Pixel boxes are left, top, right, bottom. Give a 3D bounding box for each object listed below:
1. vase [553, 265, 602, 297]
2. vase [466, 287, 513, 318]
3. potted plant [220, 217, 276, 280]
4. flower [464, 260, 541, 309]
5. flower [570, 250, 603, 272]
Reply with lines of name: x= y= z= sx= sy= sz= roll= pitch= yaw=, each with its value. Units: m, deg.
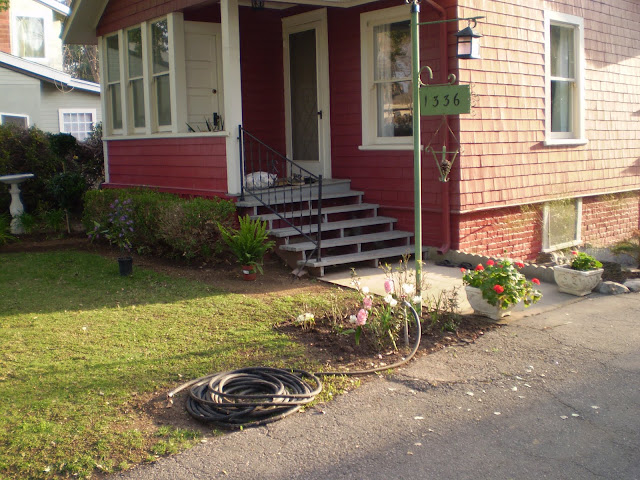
vase: x=3.097 y=0.462 z=6.932 sx=0.370 sy=0.291 sz=0.430 roll=-3 pitch=4 yaw=-40
vase: x=1.792 y=0.632 z=6.137 sx=0.390 sy=0.275 sz=0.341 roll=3 pitch=7 yaw=34
potted plant: x=-1.061 y=0.092 z=7.888 sx=0.756 sy=0.882 sz=0.846 roll=1 pitch=7 yaw=2
flower: x=1.888 y=0.464 z=6.017 sx=0.616 sy=0.475 sz=0.654 roll=10 pitch=13 yaw=37
flower: x=3.233 y=0.281 z=7.029 sx=0.375 sy=0.271 sz=0.385 roll=3 pitch=7 yaw=8
